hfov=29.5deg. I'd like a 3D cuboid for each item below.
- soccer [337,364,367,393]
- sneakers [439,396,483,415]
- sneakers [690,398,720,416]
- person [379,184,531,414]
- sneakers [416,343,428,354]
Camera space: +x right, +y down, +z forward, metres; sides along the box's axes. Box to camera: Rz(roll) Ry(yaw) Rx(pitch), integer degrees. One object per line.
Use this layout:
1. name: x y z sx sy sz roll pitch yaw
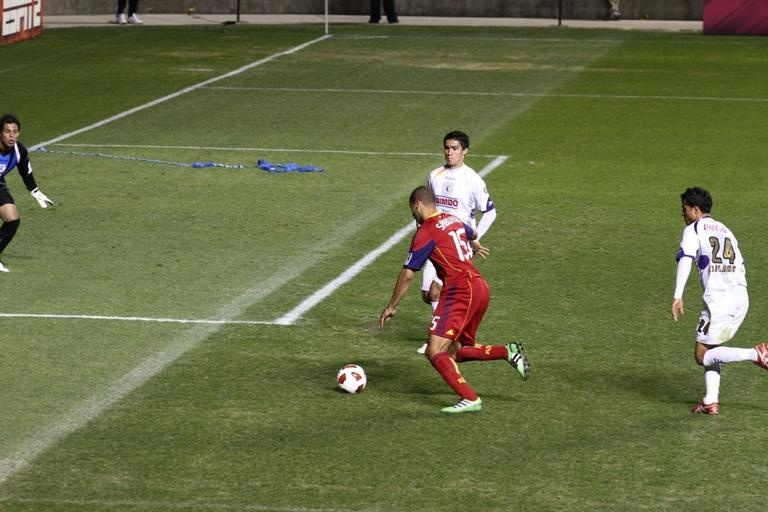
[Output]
1. soccer: -0.359 1.380 16.611 0.337 0.308 0.309 -2 12 -2
2. sneakers: 0.894 1.663 16.173 0.538 0.128 0.154 -2 3 0
3. sneakers: 3.587 1.680 16.128 0.359 0.098 0.120 2 9 22
4. person: 0.769 0.454 16.429 1.564 2.475 1.186 -3 14 -6
5. sneakers: 0.473 1.093 17.428 0.155 0.040 0.192 2 13 12
